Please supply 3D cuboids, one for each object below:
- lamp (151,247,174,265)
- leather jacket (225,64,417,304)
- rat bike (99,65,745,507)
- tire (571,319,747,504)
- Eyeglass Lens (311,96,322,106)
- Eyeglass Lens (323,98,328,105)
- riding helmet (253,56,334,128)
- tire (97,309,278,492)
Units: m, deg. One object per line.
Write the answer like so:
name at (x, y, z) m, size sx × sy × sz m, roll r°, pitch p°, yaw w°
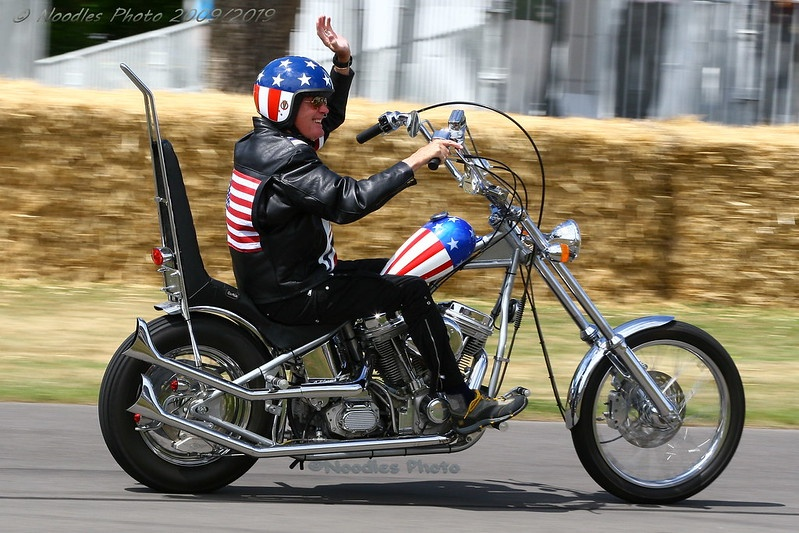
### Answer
lamp at (-1.649, -0.069, 8.093) m, size 0.136 × 0.125 × 0.156 m, roll 2°, pitch 7°, yaw -17°
leather jacket at (-0.645, -0.366, 8.112) m, size 1.110 × 1.282 × 0.378 m, roll 4°, pitch 8°, yaw -2°
rat bike at (0.123, 0.342, 8.376) m, size 4.588 × 2.178 × 1.411 m, roll 0°, pitch 3°, yaw 3°
tire at (1.826, 1.065, 8.379) m, size 1.393 × 1.154 × 0.301 m, roll -14°, pitch -3°, yaw -1°
Eyeglass Lens at (-0.578, -1.145, 8.178) m, size 0.073 × 0.067 × 0.027 m, roll 3°, pitch 35°, yaw -7°
Eyeglass Lens at (-0.533, -1.152, 8.213) m, size 0.051 × 0.049 × 0.016 m, roll 8°, pitch -6°, yaw -2°
riding helmet at (-0.768, -1.263, 8.322) m, size 0.627 × 0.401 × 0.485 m, roll 7°, pitch 23°, yaw 7°
tire at (-1.477, 0.948, 8.094) m, size 1.172 × 1.249 × 0.232 m, roll 3°, pitch 8°, yaw -8°
